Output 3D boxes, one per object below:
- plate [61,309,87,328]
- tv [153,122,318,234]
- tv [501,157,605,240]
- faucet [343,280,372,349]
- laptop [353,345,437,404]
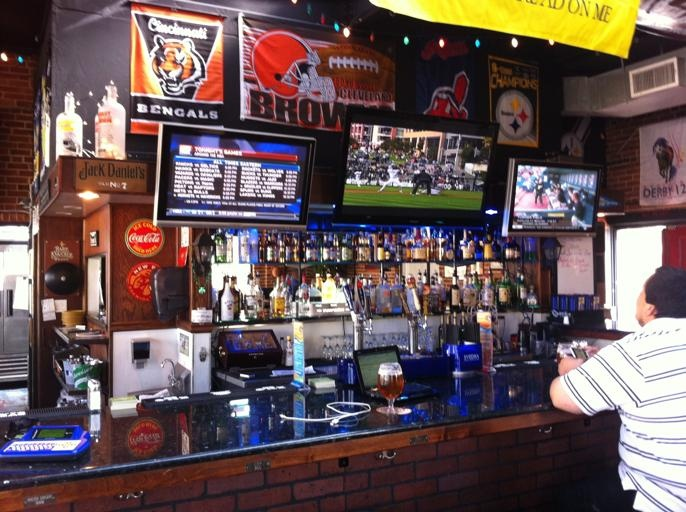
[{"bbox_3d":[-2.896,0.670,6.736,0.167,0.136,0.173,3,-3,-28],"label":"plate"},{"bbox_3d":[-0.774,-0.555,4.537,1.121,0.724,0.148,1,17,-21],"label":"tv"},{"bbox_3d":[1.906,-0.511,5.736,1.023,0.691,0.112,1,3,-23],"label":"tv"},{"bbox_3d":[0.109,0.490,4.774,0.174,0.527,0.355,-2,10,-7],"label":"faucet"},{"bbox_3d":[0.334,0.763,4.140,0.437,0.274,0.419,-1,1,-34],"label":"laptop"}]
